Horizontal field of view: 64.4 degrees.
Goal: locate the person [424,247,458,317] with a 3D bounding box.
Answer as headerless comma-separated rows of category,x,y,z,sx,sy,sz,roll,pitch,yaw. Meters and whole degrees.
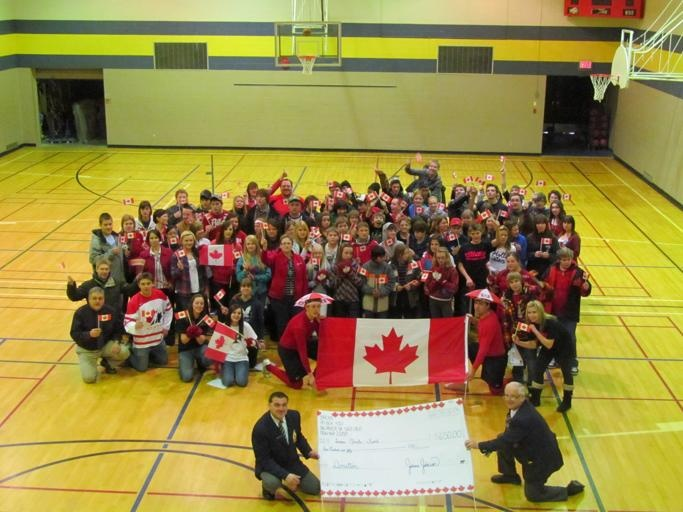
person,1.742,0.494,9.380,0.540,1.315,0.332,3,19,11

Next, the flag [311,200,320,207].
flag,-0.567,-1.109,11.577,0.153,0.153,0.036,3,-3,-34

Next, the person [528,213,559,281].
person,3.761,0.047,10.252,0.592,1.642,0.608,4,33,17

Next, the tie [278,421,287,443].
tie,-0.689,2.126,6.566,0.097,0.262,0.077,-18,25,-42

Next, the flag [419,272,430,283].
flag,1.452,0.381,9.396,0.038,0.150,0.160,9,5,-37

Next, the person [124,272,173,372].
person,-3.173,1.094,8.934,0.767,1.679,0.426,-10,20,-25

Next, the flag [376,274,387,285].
flag,0.689,0.406,9.213,0.162,0.172,0.051,3,-1,-1

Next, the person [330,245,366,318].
person,0.100,0.465,9.319,0.522,1.370,0.365,-2,18,-2

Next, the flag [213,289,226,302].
flag,-2.070,0.675,9.272,0.059,0.209,0.223,36,41,-12

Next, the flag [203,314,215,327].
flag,-2.141,1.058,8.736,0.191,0.014,0.274,-24,55,-24

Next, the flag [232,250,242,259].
flag,-1.844,-0.013,9.569,0.138,0.136,0.034,-2,-3,-13

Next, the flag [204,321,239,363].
flag,-1.875,1.372,8.580,0.510,0.626,0.048,27,4,-22

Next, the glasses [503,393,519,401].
glasses,2.012,1.665,6.381,0.137,0.098,0.059,11,22,30

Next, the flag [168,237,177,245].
flag,-3.096,-0.263,9.930,0.126,0.096,0.019,0,-19,-1

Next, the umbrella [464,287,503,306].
umbrella,2.145,0.605,7.943,0.329,0.149,0.347,20,3,-18

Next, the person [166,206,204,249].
person,-3.397,-0.634,11.590,0.606,1.537,0.461,-5,11,-25

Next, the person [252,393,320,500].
person,-0.668,2.307,6.561,0.770,1.456,0.535,-6,19,-15

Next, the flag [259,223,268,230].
flag,-1.405,-0.529,9.873,0.110,0.110,0.027,-1,-3,-38

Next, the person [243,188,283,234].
person,-1.658,-0.977,11.204,0.847,1.257,0.833,-2,-3,7

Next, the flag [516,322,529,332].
flag,2.597,1.016,7.702,0.168,0.051,0.182,16,-1,21

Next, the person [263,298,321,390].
person,-0.628,1.413,8.495,0.961,1.552,0.787,1,22,-13

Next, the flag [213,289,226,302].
flag,-2.075,0.675,9.273,0.069,0.244,0.262,29,39,-33

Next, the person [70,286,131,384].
person,-3.897,1.253,8.706,0.766,1.573,0.556,-11,21,-28

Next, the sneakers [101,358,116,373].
sneakers,-3.891,1.839,9.018,0.134,0.169,0.362,-23,45,-34

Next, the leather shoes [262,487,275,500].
leather shoes,-0.896,2.954,6.705,0.168,0.119,0.100,15,32,9

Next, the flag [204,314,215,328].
flag,-2.133,1.063,8.757,0.144,0.141,0.209,31,0,-26

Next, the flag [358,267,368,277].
flag,0.377,0.277,9.221,0.145,0.194,0.222,3,19,11
